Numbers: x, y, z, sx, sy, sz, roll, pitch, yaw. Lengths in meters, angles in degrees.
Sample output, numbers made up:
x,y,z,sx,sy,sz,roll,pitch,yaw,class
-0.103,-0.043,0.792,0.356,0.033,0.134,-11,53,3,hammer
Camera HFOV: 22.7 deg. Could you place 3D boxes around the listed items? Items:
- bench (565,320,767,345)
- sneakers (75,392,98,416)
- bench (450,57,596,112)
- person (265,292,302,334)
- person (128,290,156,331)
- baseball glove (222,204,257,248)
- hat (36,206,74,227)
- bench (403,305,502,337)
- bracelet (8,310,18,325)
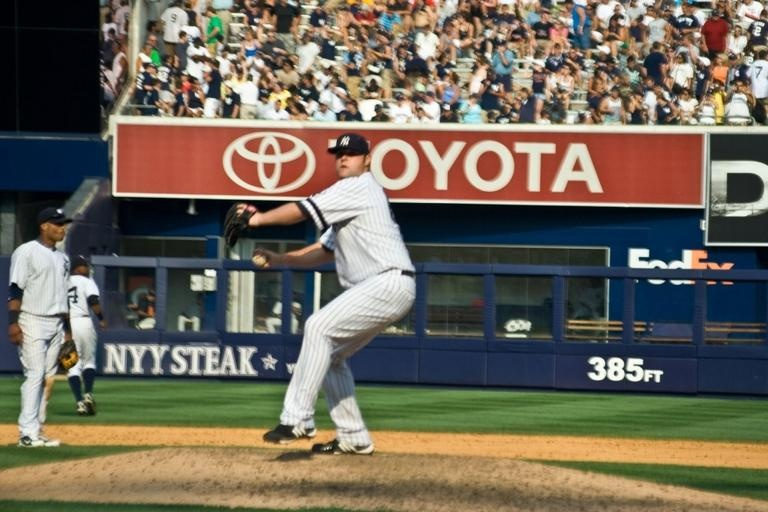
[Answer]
x,y,z,sx,sy,sz,roll,pitch,yaw,class
5.619,1.589,37.485,3.278,0.495,0.579,1,2,2,bench
-5.391,2.705,34.684,0.224,0.233,0.517,-7,-34,-3,sneakers
3.168,-3.814,41.184,2.223,1.409,0.499,2,-24,-5,bench
-1.927,1.184,38.628,0.713,0.652,0.457,10,12,34,person
-4.866,1.040,38.614,0.518,0.826,0.124,1,-8,8,person
-2.449,-0.577,31.433,0.329,0.746,0.432,33,6,3,baseball glove
-5.676,-0.715,33.049,0.492,0.239,0.347,-3,-1,7,hat
1.445,1.289,38.134,1.479,0.757,0.660,1,2,4,bench
-6.343,1.037,32.802,0.179,0.250,0.105,1,-8,2,bracelet
